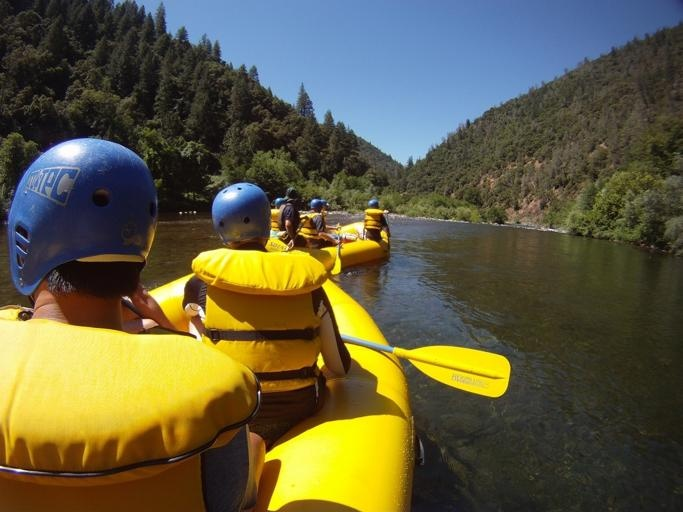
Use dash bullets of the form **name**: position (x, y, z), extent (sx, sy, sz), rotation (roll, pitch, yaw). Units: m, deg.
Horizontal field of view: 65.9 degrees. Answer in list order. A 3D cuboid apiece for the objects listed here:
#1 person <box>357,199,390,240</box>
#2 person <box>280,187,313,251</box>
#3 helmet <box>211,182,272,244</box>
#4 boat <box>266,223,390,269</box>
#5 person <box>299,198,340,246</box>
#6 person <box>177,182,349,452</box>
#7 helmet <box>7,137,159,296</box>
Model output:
- **person**: position (0.803, -0.872, 12.174), extent (0.647, 1.010, 0.682), rotation (-3, 12, -14)
- **person**: position (-0.866, -0.499, 9.398), extent (0.517, 1.439, 0.655), rotation (2, 21, 0)
- **helmet**: position (-0.584, -0.274, 3.130), extent (0.259, 0.359, 0.364), rotation (-2, 12, 3)
- **boat**: position (0.190, -0.135, 11.197), extent (1.022, 0.529, 2.359), rotation (10, 12, 32)
- **person**: position (-0.386, -0.697, 10.620), extent (0.659, 0.970, 0.824), rotation (10, 14, 38)
- **person**: position (-0.536, 0.233, 3.393), extent (0.950, 1.365, 1.716), rotation (-2, 13, -8)
- **helmet**: position (-0.869, -0.145, 1.966), extent (0.526, 0.601, 0.437), rotation (21, 15, 31)
